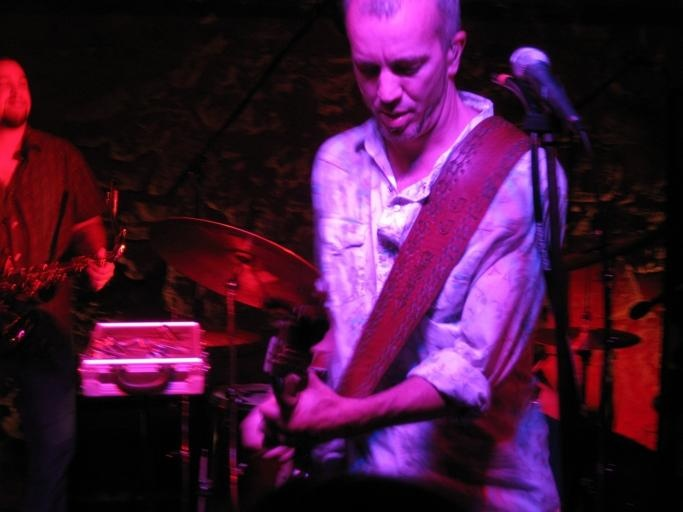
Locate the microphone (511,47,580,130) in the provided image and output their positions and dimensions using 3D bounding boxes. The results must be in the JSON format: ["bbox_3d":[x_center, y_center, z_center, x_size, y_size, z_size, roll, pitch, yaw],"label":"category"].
[{"bbox_3d":[0.562,-0.465,1.980,0.073,0.217,0.256,-7,16,-32],"label":"microphone"}]
